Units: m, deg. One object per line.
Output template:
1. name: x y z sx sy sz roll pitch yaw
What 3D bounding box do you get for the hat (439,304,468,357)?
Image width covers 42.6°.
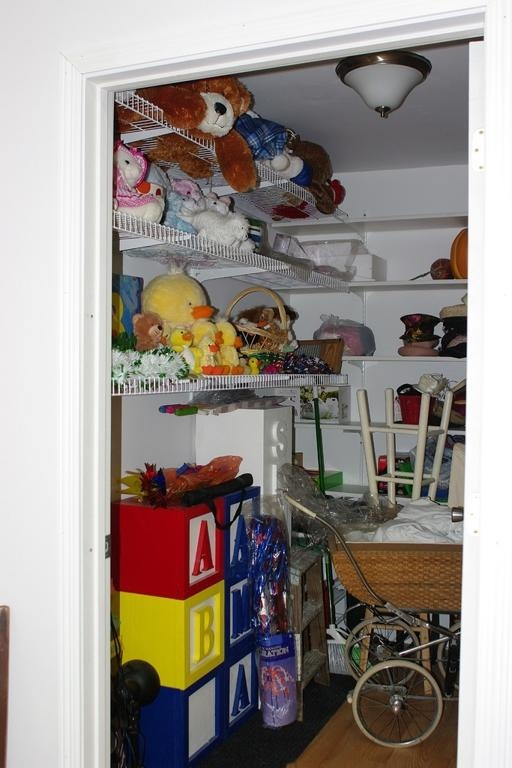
1. hat: 0.910 -0.241 3.054 0.087 0.260 0.200 4 0 -23

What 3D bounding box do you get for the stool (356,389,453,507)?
1. stool: 0.515 0.331 2.853 0.345 0.571 0.335 -3 -9 -13

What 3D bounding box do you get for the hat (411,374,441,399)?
1. hat: 0.706 0.007 2.653 0.106 0.090 0.118 4 0 9

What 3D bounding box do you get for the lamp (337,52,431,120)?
1. lamp: 0.379 -0.913 1.988 0.277 0.186 0.193 3 0 -28

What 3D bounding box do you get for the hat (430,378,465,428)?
1. hat: 0.867 0.097 2.976 0.191 0.235 0.246 -3 -16 25

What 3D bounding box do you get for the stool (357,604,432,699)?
1. stool: 0.494 0.962 2.500 0.209 0.281 0.212 -8 -9 34

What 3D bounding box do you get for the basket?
1. basket: 0.004 -0.246 2.468 0.288 0.275 0.210 2 4 19

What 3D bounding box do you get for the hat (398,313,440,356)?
1. hat: 0.772 -0.228 3.097 0.206 0.192 0.194 0 1 -19
